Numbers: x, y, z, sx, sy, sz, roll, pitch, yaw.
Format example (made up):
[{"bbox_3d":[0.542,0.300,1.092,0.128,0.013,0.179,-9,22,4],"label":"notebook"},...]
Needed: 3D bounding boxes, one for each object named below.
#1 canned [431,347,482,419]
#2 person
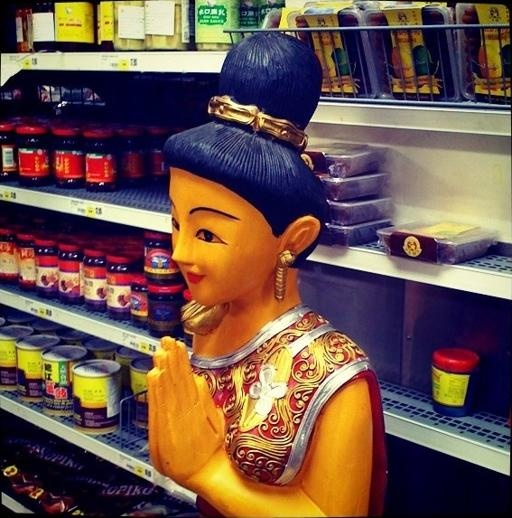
[{"bbox_3d":[0.471,0.300,1.164,0.097,0.160,0.069,3,15,26],"label":"canned"},{"bbox_3d":[0.020,0.053,0.787,0.360,0.805,0.333,-3,13,4],"label":"person"}]
